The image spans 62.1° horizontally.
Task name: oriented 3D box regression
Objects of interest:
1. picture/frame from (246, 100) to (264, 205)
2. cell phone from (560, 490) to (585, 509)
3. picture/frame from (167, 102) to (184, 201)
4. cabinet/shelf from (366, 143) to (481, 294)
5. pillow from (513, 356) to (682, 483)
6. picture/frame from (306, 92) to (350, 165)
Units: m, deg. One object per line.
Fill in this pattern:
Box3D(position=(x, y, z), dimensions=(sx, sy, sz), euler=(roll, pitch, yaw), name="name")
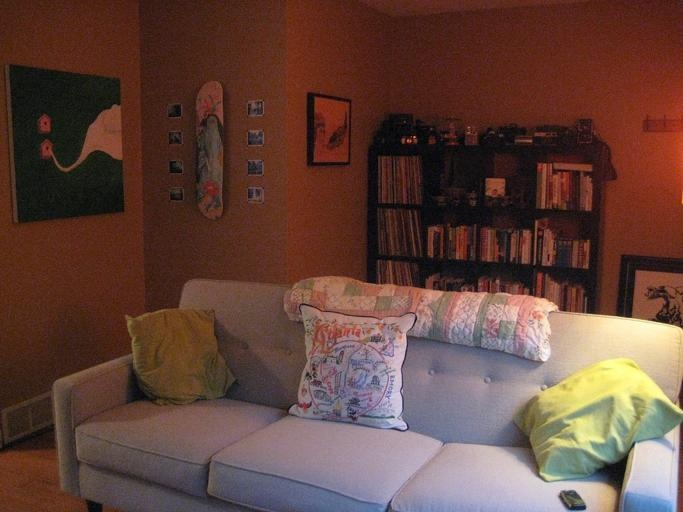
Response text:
Box3D(position=(-0.607, -0.727, 3.970), dimensions=(0.152, 0.713, 0.024), euler=(4, 8, 23), name="picture/frame")
Box3D(position=(0.830, 0.870, 2.023), dimensions=(0.076, 0.029, 0.087), euler=(1, 7, 1), name="cell phone")
Box3D(position=(-1.236, -0.760, 4.203), dimensions=(0.147, 0.716, 0.045), euler=(5, 8, 29), name="picture/frame")
Box3D(position=(0.649, -0.351, 4.815), dimensions=(1.017, 1.169, 0.268), euler=(-2, 10, 10), name="cabinet/shelf")
Box3D(position=(1.019, 0.646, 2.270), dimensions=(0.523, 0.383, 0.381), euler=(1, 7, 3), name="pillow")
Box3D(position=(-0.114, -0.951, 4.213), dimensions=(0.056, 0.496, 0.571), euler=(3, 5, 30), name="picture/frame")
